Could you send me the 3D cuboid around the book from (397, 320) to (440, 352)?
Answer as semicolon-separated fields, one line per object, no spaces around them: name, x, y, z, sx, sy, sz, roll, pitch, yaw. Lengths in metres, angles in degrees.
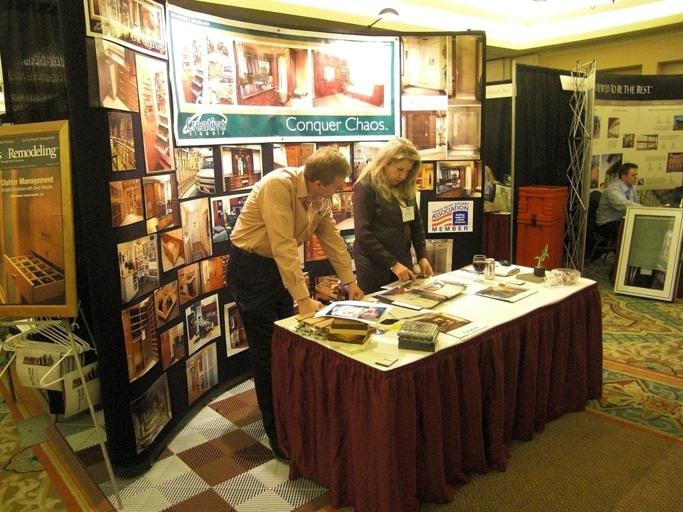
book;0.407;0.400;2.549;0.150;0.074;0.151;4;11;18

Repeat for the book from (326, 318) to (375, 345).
book;0.039;0.380;2.542;0.230;0.125;0.093;0;16;5

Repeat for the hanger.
hanger;-1.733;0.540;2.859;0.386;0.384;0.657;-15;20;-39
